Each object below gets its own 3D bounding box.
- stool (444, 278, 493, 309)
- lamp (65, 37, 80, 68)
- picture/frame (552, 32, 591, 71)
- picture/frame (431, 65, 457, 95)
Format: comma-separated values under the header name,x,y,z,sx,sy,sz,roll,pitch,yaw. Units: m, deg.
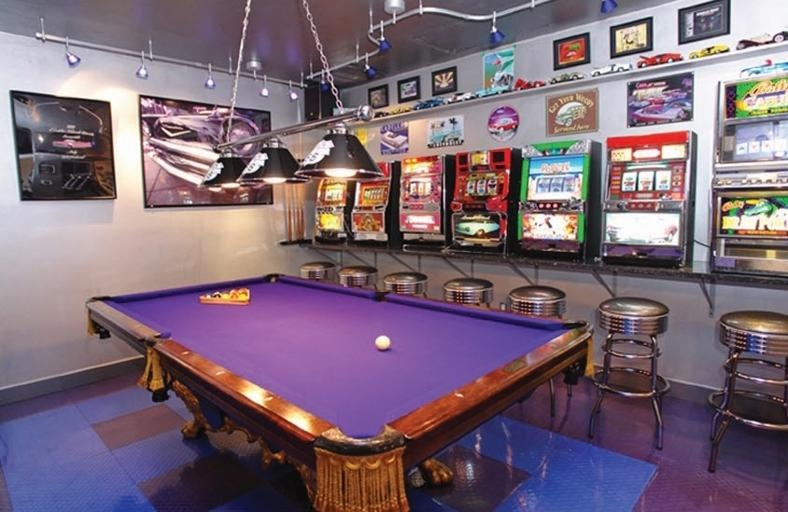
name,x,y,z,sx,sy,sz,roll,pitch,yaw
stool,0.899,0.413,6.502,0.428,0.357,0.420,0,0,3
lamp,-3.878,-2.468,6.517,0.165,0.346,0.403,-6,11,-28
picture/frame,2.182,-2.512,6.572,0.562,0.449,0.044,2,8,33
picture/frame,0.722,-2.492,7.591,0.553,0.466,0.037,2,6,36
